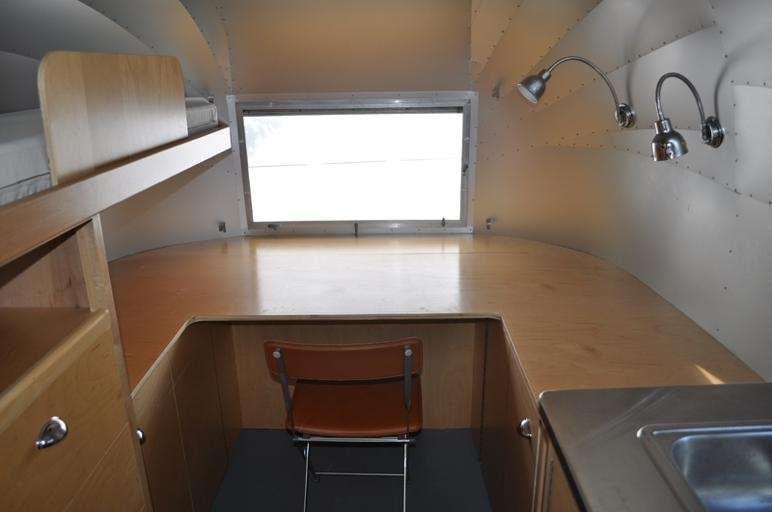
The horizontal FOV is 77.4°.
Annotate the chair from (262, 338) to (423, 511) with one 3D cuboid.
[{"bbox_3d":[-0.178,0.794,2.187,0.549,0.677,0.935,-1,-55,-2],"label":"chair"}]

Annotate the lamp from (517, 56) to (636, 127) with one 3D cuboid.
[{"bbox_3d":[0.921,-0.787,2.293,0.429,0.151,0.369,-16,-43,3],"label":"lamp"}]
